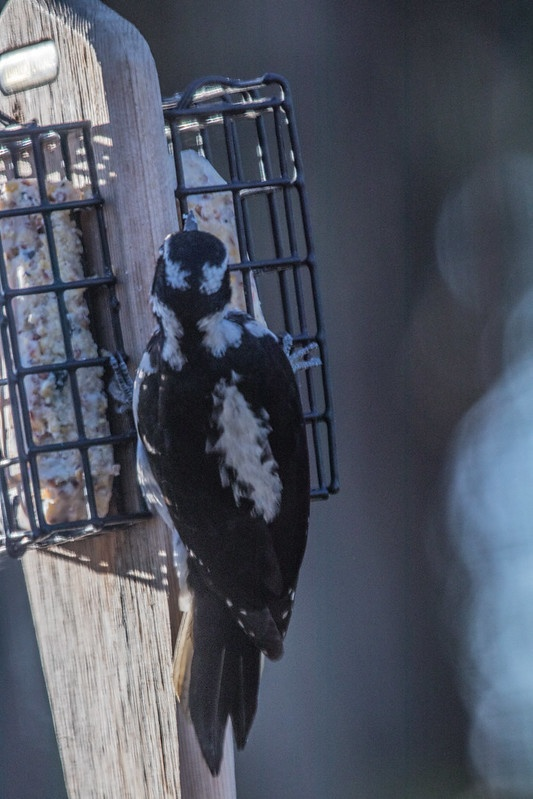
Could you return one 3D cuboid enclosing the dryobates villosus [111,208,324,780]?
[{"bbox_3d":[-0.029,0.085,1.284,0.167,0.595,0.217,0,7,11],"label":"dryobates villosus"}]
